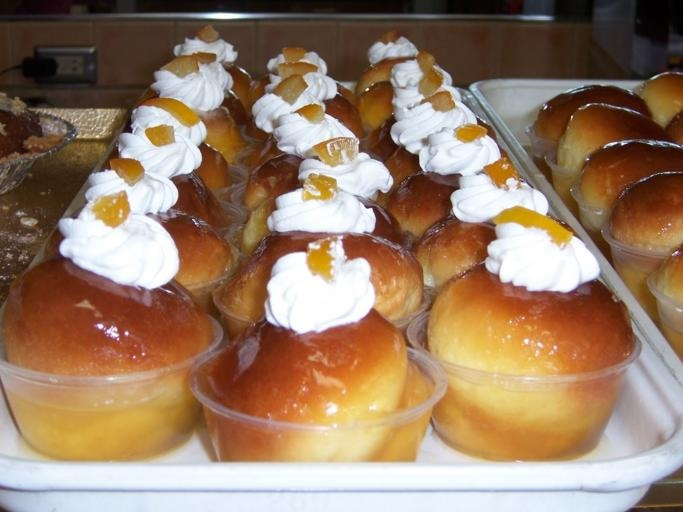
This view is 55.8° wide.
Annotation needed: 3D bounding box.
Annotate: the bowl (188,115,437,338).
[{"bbox_3d":[-0.027,-0.085,1.371,0.435,0.450,0.431,-2,12,0],"label":"bowl"}]
